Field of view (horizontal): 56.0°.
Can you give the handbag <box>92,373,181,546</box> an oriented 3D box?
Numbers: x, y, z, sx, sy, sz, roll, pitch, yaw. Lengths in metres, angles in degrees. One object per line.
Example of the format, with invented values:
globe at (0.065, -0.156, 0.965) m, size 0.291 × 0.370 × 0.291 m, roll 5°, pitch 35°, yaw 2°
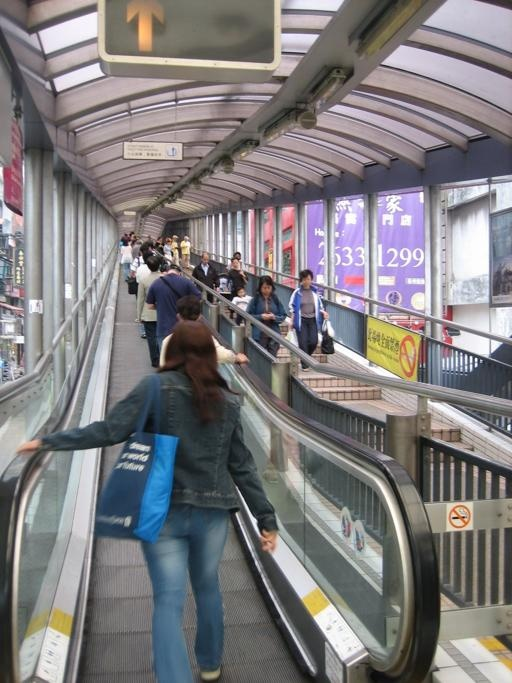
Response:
handbag at (-0.376, 0.346, 1.476) m, size 0.265 × 0.483 × 0.124 m, roll 2°, pitch 3°, yaw 27°
